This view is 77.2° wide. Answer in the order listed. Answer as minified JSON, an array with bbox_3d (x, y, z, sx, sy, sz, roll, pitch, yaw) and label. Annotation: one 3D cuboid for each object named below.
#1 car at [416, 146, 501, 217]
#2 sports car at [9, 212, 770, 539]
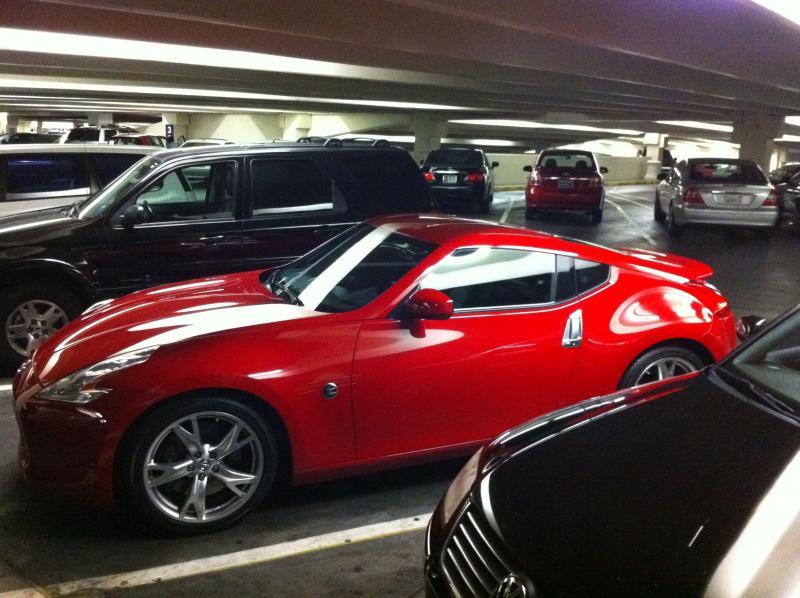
[{"bbox_3d":[2.253,-4.633,19.208,3.132,1.679,5.530,4,13,12],"label":"car"},{"bbox_3d":[0.149,0.376,4.069,5.329,1.334,2.361,-2,13,-16],"label":"sports car"}]
